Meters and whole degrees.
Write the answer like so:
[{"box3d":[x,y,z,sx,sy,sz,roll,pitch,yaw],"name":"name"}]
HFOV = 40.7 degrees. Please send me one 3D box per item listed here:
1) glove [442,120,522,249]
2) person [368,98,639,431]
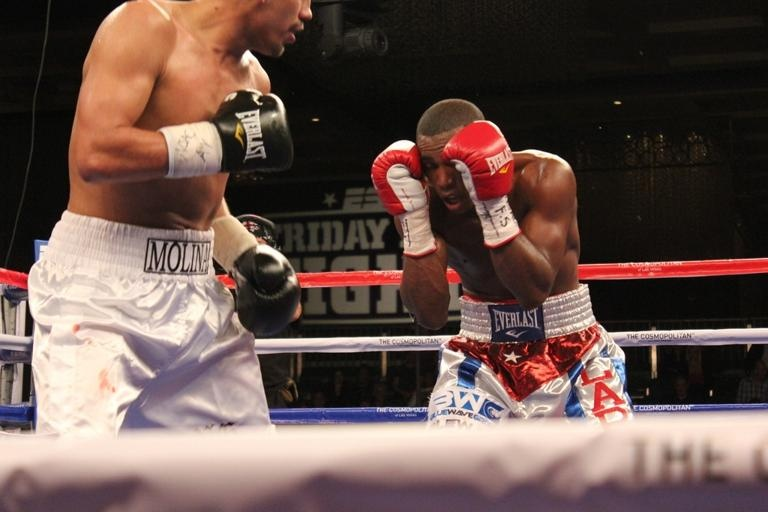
[{"box3d":[0.597,-0.426,6.028,0.339,0.661,0.502,-19,29,-28],"name":"glove"},{"box3d":[0.685,0.032,6.059,1.381,1.685,1.154,-4,25,-1],"name":"person"}]
